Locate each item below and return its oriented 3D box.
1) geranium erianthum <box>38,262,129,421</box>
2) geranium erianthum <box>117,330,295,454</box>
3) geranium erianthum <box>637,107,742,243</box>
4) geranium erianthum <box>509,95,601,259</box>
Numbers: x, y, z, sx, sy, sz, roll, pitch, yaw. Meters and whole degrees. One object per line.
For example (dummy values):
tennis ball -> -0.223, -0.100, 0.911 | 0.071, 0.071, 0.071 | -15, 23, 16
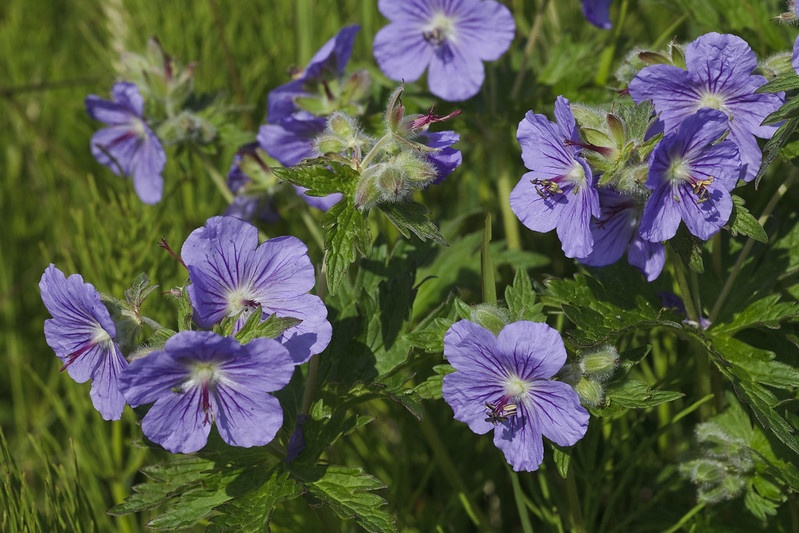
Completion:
geranium erianthum -> -0.993, 0.208, 3.133 | 0.383, 0.488, 0.199 | 12, 11, 26
geranium erianthum -> -0.613, 0.389, 2.927 | 0.391, 0.470, 0.278 | 1, 20, 0
geranium erianthum -> 0.940, -0.281, 2.979 | 0.152, 0.347, 0.398 | 10, 70, 55
geranium erianthum -> 0.522, -0.310, 3.033 | 0.381, 0.336, 0.278 | 33, 63, 30
